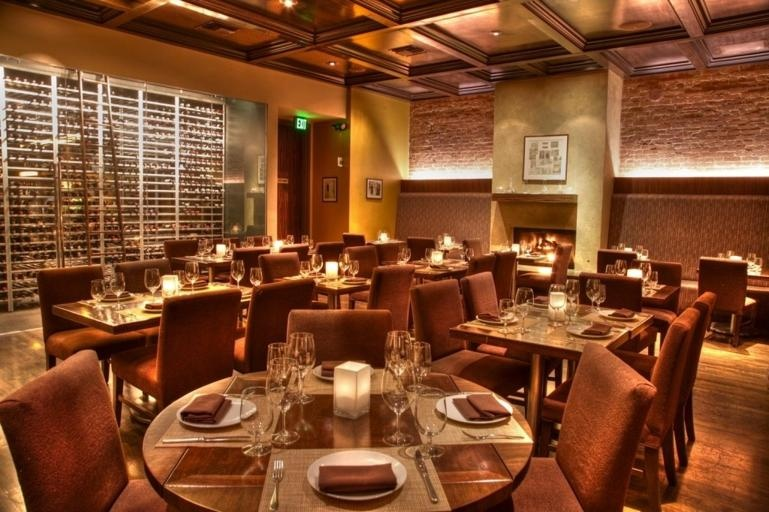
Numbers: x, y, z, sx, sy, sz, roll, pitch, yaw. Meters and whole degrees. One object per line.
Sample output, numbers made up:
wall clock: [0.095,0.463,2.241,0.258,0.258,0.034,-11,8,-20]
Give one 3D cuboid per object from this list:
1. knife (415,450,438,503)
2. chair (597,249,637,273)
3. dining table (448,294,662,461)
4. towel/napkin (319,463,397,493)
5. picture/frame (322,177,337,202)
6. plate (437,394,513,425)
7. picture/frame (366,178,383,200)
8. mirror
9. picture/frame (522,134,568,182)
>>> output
knife: [0.194,1.036,2.466,0.044,0.012,0.280,0,17,-12]
chair: [2.964,0.012,6.708,0.383,0.303,0.362,1,4,-1]
dining table: [1.299,0.528,4.177,1.289,1.261,1.199,11,20,37]
towel/napkin: [-0.130,0.993,2.414,0.256,0.061,0.149,0,3,-6]
picture/frame: [-1.188,-1.439,11.424,0.561,0.658,0.046,2,2,37]
plate: [0.521,0.839,2.875,0.255,0.038,0.260,-2,9,-19]
picture/frame: [-0.243,-1.466,11.523,0.044,0.384,0.463,-5,7,33]
mirror: [-2.531,-1.430,9.297,0.878,2.322,0.046,-6,19,-45]
picture/frame: [2.973,-1.803,9.642,0.904,0.958,0.039,4,4,41]
